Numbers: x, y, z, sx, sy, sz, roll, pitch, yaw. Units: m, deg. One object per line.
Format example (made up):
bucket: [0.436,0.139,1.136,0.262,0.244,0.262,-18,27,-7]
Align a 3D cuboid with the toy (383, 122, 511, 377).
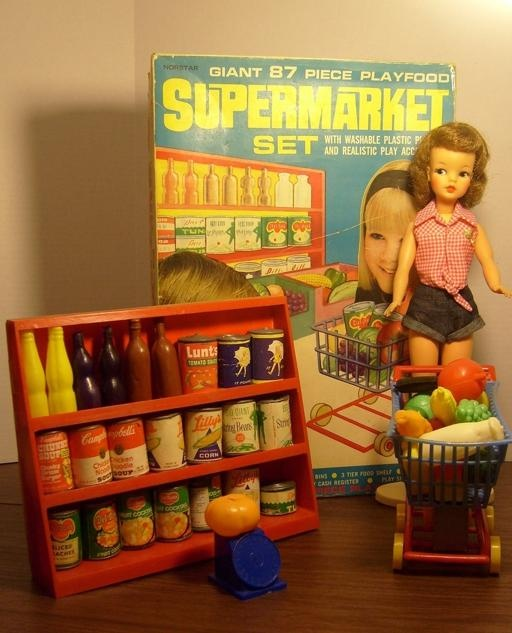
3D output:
toy: [0.549,-0.202,1.621,0.329,0.687,0.208,-1,0,16]
